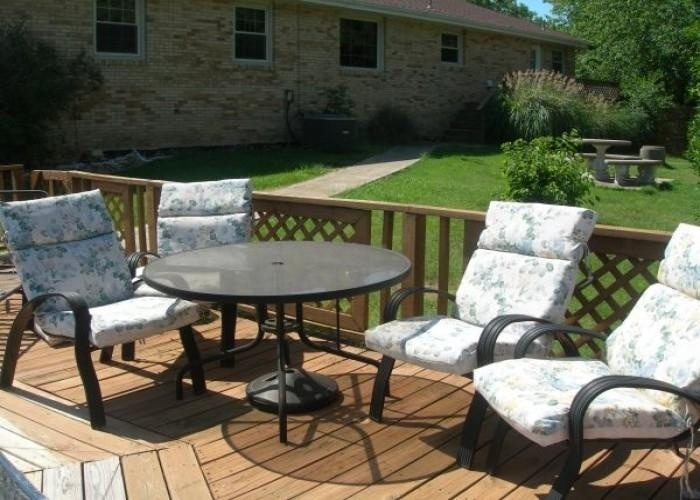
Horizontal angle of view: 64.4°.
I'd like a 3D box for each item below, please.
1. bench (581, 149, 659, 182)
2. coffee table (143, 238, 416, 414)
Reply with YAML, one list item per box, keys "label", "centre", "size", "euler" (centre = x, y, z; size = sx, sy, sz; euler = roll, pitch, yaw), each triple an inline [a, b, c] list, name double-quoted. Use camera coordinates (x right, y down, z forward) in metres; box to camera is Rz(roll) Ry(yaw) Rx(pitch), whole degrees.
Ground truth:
- label: "bench"
  centre: [6.597, -2.043, 13.709]
  size: [1.489, 0.670, 2.692]
  euler: [8, 18, 19]
- label: "coffee table"
  centre: [-0.402, 0.241, 3.478]
  size: [1.269, 0.669, 1.261]
  euler: [1, 7, 20]
